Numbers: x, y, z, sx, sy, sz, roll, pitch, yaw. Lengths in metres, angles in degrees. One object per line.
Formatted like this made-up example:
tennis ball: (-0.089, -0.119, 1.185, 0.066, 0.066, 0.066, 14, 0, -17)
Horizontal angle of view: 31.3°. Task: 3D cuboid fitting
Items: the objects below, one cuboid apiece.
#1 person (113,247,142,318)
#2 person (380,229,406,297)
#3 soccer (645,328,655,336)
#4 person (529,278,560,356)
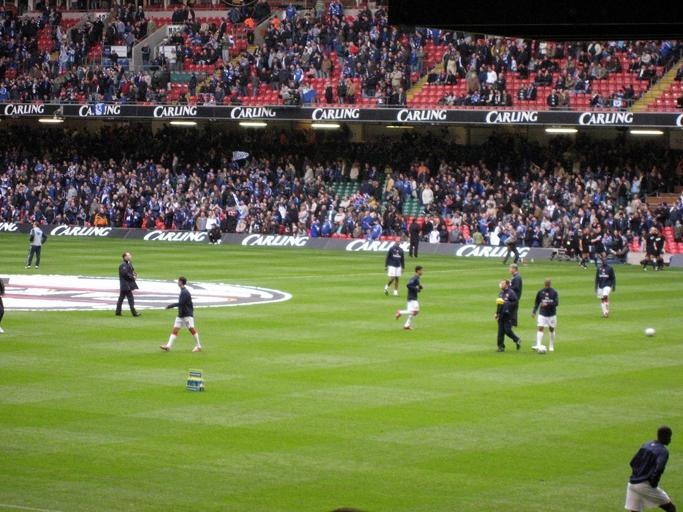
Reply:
person: (-6.741, 0.867, 38.515, 0.817, 2.005, 0.671, 6, 7, 36)
person: (2.028, 0.350, 44.573, 0.671, 2.159, 0.595, 2, 4, 8)
soccer: (9.395, 2.234, 36.569, 0.234, 0.250, 0.256, 4, -21, 11)
person: (5.886, 1.664, 34.834, 1.021, 2.072, 0.747, -3, 7, -40)
